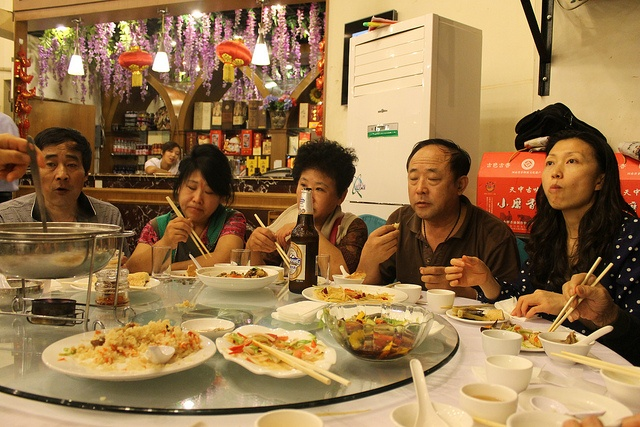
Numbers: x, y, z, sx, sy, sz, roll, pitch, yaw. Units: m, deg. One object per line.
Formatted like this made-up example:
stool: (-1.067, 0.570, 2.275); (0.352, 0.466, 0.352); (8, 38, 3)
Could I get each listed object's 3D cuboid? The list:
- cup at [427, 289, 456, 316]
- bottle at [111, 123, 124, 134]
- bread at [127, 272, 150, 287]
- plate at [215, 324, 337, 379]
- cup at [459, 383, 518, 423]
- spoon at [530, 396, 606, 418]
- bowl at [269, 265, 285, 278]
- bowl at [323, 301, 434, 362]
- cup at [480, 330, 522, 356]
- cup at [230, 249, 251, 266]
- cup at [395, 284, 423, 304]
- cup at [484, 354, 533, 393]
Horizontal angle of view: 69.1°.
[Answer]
cup: (0.527, 0.382, 2.021); (0.102, 0.068, 0.100); (2, -3, 0)
bottle: (-4.175, -1.763, 9.670); (0.181, 0.207, 0.323); (0, 3, 9)
bread: (-0.825, 0.297, 2.137); (0.065, 0.024, 0.066); (-2, 11, -29)
plate: (-0.149, 0.435, 1.475); (0.216, 0.034, 0.186); (11, 12, -10)
cup: (0.475, 0.500, 1.294); (0.109, 0.081, 0.110); (0, 0, 0)
spoon: (0.684, 0.538, 1.291); (0.063, 0.027, 0.197); (4, -3, -32)
bowl: (-0.221, 0.299, 2.423); (0.073, 0.041, 0.070); (1, 3, 0)
bowl: (0.192, 0.389, 1.563); (0.345, 0.121, 0.337); (2, 2, 0)
cup: (0.620, 0.420, 1.572); (0.110, 0.075, 0.106); (0, -13, 0)
cup: (-0.397, 0.212, 2.333); (0.086, 0.085, 0.080); (2, 2, 0)
cup: (0.409, 0.355, 2.108); (0.094, 0.055, 0.090); (2, -2, 0)
cup: (0.579, 0.474, 1.411); (0.108, 0.077, 0.108); (2, -8, 0)
